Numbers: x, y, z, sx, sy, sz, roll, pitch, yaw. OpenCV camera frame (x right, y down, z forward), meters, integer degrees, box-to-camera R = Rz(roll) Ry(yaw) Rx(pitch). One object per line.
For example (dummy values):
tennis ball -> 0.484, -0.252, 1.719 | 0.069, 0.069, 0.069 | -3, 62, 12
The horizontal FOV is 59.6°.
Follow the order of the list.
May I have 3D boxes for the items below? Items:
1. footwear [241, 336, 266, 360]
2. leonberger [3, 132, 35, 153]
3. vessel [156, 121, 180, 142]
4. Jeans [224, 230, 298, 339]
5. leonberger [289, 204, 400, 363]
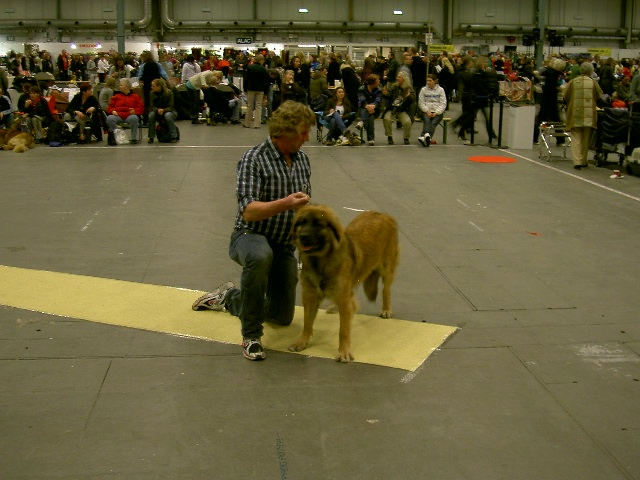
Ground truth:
footwear -> -0.533, 0.886, 4.480 | 0.113, 0.087, 0.230 | 0, 4, -10
leonberger -> -7.817, -2.471, 14.433 | 0.640, 0.252, 0.753 | 0, 6, -4
vessel -> -4.277, -2.951, 15.614 | 0.523, 0.587, 0.674 | -3, 9, 8
Jeans -> -0.491, 0.388, 4.753 | 0.598, 0.963, 0.776 | -2, 15, -5
leonberger -> 0.169, 0.273, 4.664 | 0.510, 1.274, 1.231 | 7, 17, 25
